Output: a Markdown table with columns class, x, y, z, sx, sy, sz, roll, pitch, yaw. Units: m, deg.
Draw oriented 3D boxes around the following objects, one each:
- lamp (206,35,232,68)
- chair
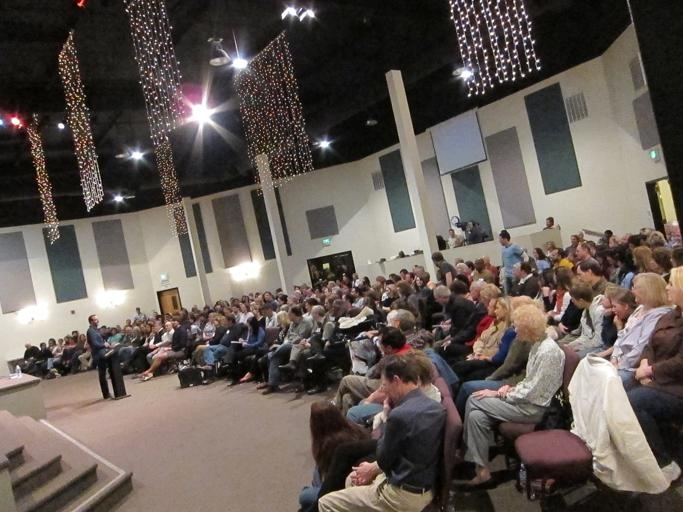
| class | x | y | z | sx | sy | sz | roll | pitch | yaw |
| --- | --- | --- | --- | --- | --- | --- | --- | --- | --- |
| lamp | -3.053 | -4.973 | 11.088 | 0.435 | 0.515 | 0.455 | -7 | 15 | -3 |
| chair | 1.420 | 1.420 | 4.227 | 1.236 | 1.922 | 1.273 | 3 | -15 | 0 |
